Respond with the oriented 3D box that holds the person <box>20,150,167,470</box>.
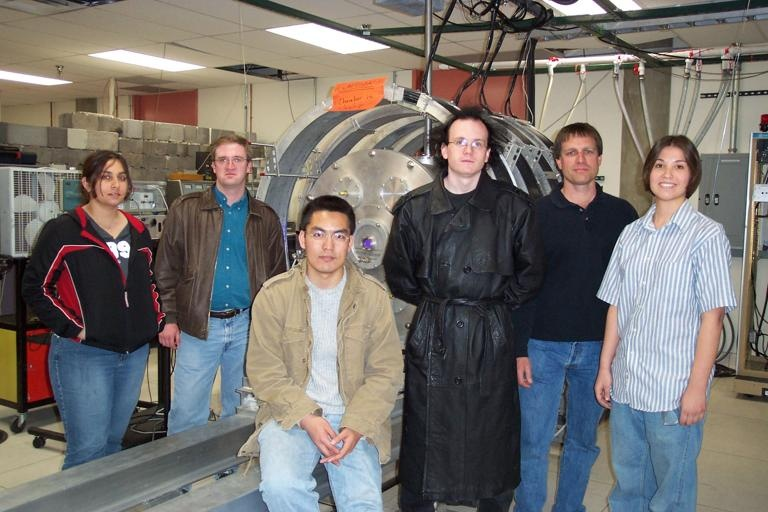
[{"bbox_3d":[-1.538,0.290,2.994,0.660,1.702,0.326,-3,8,-31],"label":"person"}]
